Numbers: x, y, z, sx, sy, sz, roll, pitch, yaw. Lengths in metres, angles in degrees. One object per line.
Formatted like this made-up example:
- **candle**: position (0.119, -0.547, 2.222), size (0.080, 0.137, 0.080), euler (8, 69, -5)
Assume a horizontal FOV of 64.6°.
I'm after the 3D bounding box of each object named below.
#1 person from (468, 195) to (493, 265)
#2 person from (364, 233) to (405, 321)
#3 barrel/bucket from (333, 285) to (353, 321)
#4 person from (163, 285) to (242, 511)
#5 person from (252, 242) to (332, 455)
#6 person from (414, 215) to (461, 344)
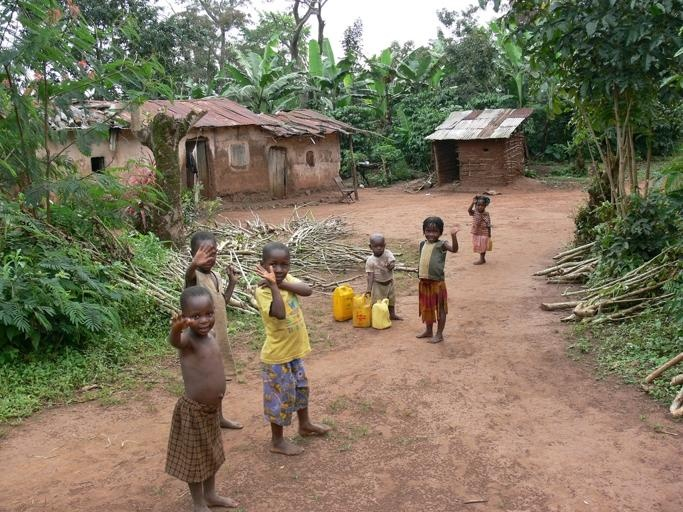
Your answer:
- **person**: position (2.470, -0.471, 9.626), size (0.334, 1.204, 0.800), euler (-4, 9, 14)
- **person**: position (0.528, 0.290, 7.232), size (0.438, 1.243, 0.703), euler (-5, 8, 5)
- **barrel/bucket**: position (0.012, 0.662, 7.717), size (0.313, 0.503, 0.202), euler (-6, 9, -3)
- **person**: position (-1.058, 1.054, 3.990), size (0.387, 1.674, 0.509), euler (-1, 10, 28)
- **person**: position (-0.483, 0.772, 4.601), size (0.512, 1.821, 0.521), euler (-5, 9, 6)
- **person**: position (1.155, 0.268, 6.647), size (0.566, 1.520, 0.677), euler (-4, 9, 9)
